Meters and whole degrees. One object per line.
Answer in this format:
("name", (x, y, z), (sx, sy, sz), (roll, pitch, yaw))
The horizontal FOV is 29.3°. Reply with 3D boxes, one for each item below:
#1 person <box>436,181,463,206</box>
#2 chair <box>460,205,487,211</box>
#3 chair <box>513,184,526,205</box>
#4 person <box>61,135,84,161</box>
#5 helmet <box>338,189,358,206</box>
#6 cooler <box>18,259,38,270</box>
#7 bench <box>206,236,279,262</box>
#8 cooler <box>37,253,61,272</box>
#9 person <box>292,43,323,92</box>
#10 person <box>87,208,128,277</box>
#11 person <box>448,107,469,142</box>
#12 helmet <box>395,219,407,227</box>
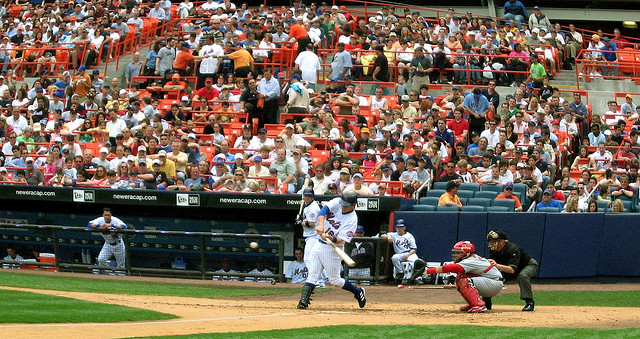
("person", (5.178, 1.029, 49.665), (0.957, 1.074, 1.213), (-5, -5, 40))
("chair", (6.244, 1.512, 49.363), (1.076, 0.234, 0.319), (0, -2, 6))
("chair", (8.235, 0.929, 49.694), (0.662, 0.822, 0.768), (-2, -5, 25))
("person", (-10.590, -0.911, 51.988), (1.099, 1.110, 0.708), (-6, 4, 0))
("helmet", (1.076, 0.999, 44.429), (0.460, 0.336, 0.622), (23, 23, 31))
("cooler", (-11.763, 3.757, 49.105), (0.779, 0.393, 0.163), (1, -2, -6))
("bench", (-3.110, 3.106, 48.645), (2.831, 0.967, 0.325), (0, -2, 5))
("cooler", (-10.940, 3.751, 49.396), (1.089, 0.898, 0.682), (1, -4, 0))
("person", (-0.672, -4.326, 55.756), (1.323, 2.737, 0.871), (6, 5, -14))
("person", (-8.511, 2.885, 49.005), (1.484, 2.644, 0.803), (1, -2, -4))
("person", (6.029, -1.985, 52.875), (0.886, 1.460, 0.777), (0, -2, 7))
("helmet", (3.315, 2.096, 48.955), (0.492, 0.275, 0.376), (1, -2, -15))
